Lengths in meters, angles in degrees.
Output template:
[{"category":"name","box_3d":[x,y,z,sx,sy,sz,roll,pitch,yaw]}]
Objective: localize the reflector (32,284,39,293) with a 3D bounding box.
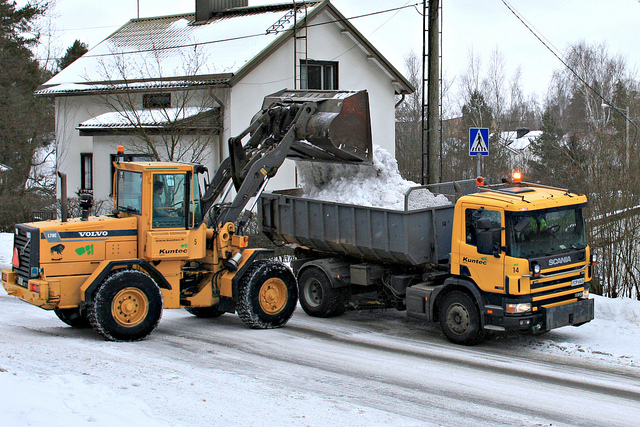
[{"category":"reflector","box_3d":[-6.408,1.686,16.260,0.245,0.188,0.022,8,10,36]}]

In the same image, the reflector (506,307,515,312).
[{"category":"reflector","box_3d":[4.238,2.148,16.125,0.100,0.110,0.028,2,-10,8]}]

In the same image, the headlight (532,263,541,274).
[{"category":"headlight","box_3d":[4.838,1.227,16.145,0.261,0.189,0.091,-4,10,-36]}]

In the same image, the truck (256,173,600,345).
[{"category":"truck","box_3d":[2.705,1.083,18.973,8.242,4.254,4.136,1,3,44]}]

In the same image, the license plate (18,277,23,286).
[{"category":"license plate","box_3d":[-6.938,1.562,16.712,0.020,0.171,0.173,-4,8,-38]}]

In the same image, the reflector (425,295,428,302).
[{"category":"reflector","box_3d":[2.547,2.060,17.429,0.063,0.131,0.070,-1,-2,3]}]

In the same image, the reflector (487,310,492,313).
[{"category":"reflector","box_3d":[3.830,2.225,16.377,0.059,0.069,0.015,-2,-4,17]}]

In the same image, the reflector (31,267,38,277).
[{"category":"reflector","box_3d":[-6.443,1.300,16.260,0.169,0.268,0.026,-1,-2,-13]}]

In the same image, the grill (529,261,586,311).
[{"category":"grill","box_3d":[5.427,1.752,16.536,1.728,0.821,0.218,-4,9,-34]}]

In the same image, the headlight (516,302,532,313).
[{"category":"headlight","box_3d":[4.538,2.100,16.107,0.196,0.113,0.282,1,4,14]}]

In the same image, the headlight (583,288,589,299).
[{"category":"headlight","box_3d":[6.216,1.876,16.939,0.163,0.192,0.044,1,3,-26]}]
